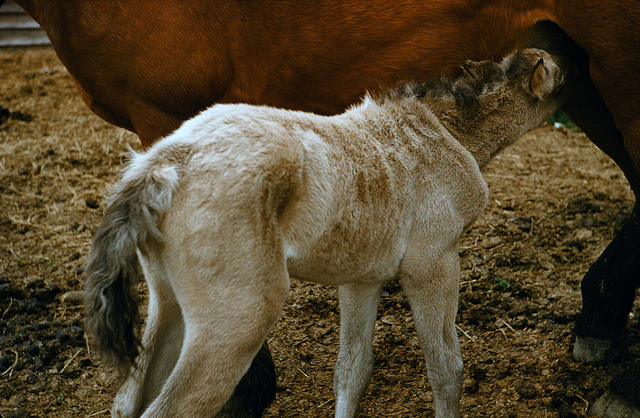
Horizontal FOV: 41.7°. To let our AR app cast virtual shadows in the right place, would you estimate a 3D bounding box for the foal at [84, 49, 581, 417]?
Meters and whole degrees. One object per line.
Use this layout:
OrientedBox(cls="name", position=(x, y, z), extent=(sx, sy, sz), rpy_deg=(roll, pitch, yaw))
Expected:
OrientedBox(cls="foal", position=(0.447, -0.055, 7.035), extent=(5.120, 3.509, 1.446), rpy_deg=(-4, 4, -29))
